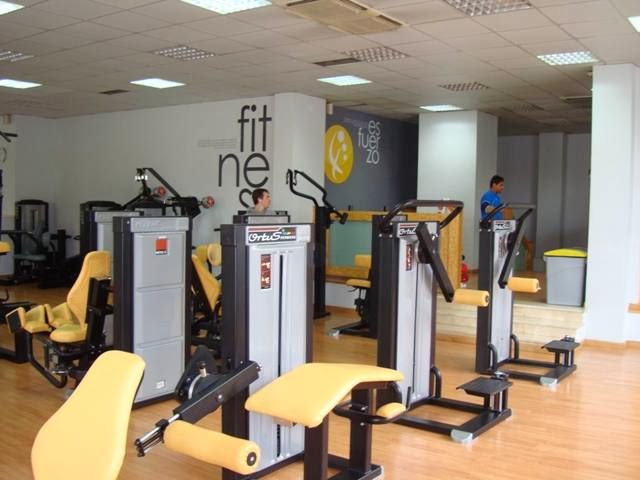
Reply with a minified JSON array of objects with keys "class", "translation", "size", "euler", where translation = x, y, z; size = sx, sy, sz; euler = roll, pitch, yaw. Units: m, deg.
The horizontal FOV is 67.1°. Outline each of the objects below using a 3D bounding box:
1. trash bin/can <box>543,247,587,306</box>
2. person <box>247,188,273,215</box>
[{"class":"trash bin/can","translation":[3.752,0.513,7.268],"size":[0.711,0.839,0.646],"euler":[-14,13,-40]},{"class":"person","translation":[-0.849,-0.551,6.836],"size":[0.230,0.356,0.933],"euler":[1,4,-9]}]
